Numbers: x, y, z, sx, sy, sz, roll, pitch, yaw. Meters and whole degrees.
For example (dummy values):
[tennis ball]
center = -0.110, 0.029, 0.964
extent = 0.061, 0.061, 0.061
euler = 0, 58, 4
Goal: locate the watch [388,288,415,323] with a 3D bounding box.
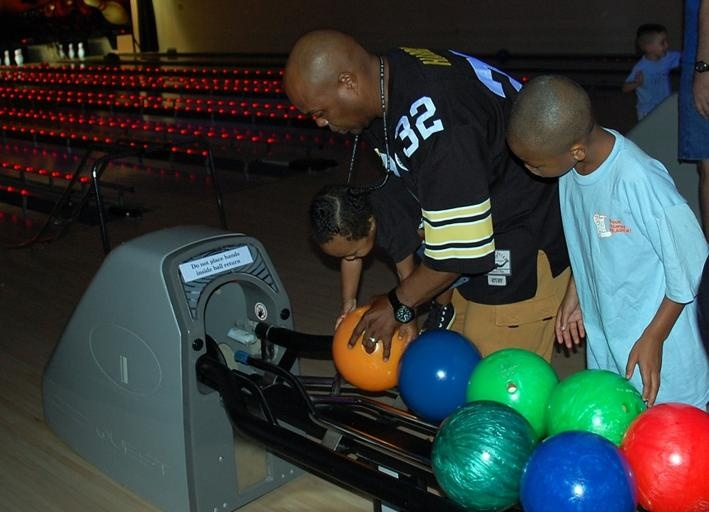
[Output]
[watch]
center = 0.130, 0.137, 1.535
extent = 0.052, 0.096, 0.084
euler = -9, 32, 1
